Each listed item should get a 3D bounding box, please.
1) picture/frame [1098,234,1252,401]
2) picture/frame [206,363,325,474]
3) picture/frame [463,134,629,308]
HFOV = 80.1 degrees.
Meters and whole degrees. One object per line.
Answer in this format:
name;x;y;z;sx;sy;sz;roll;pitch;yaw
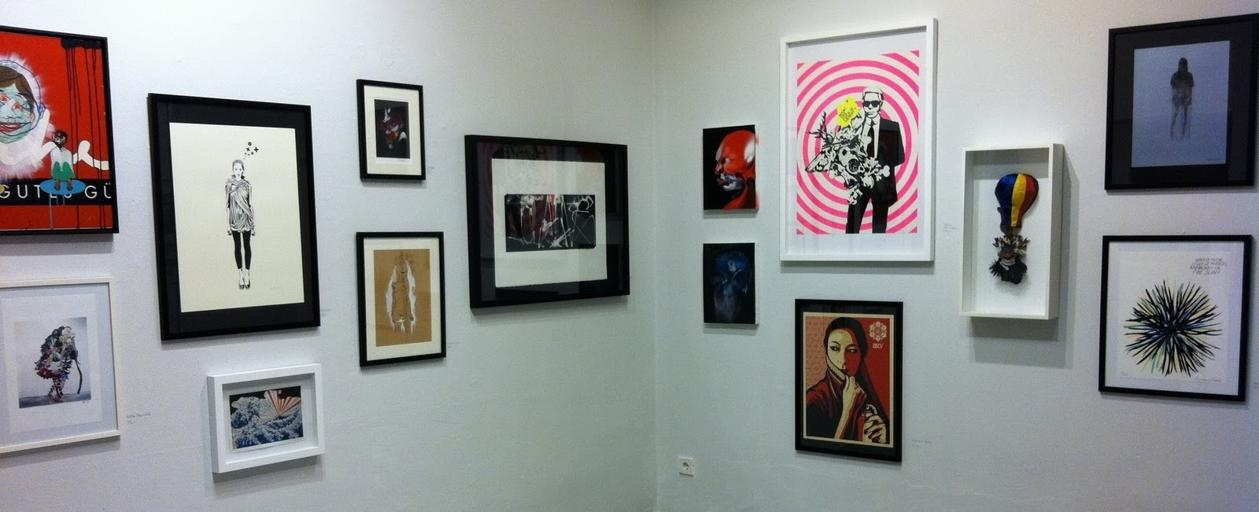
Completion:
picture/frame;3.680;0.392;4.982;1.370;1.334;0.058;1;2;7
picture/frame;-2.392;1.049;4.870;0.895;0.640;0.112;-3;-1;-26
picture/frame;-0.652;-0.258;5.444;1.513;1.142;0.114;-4;6;-27
